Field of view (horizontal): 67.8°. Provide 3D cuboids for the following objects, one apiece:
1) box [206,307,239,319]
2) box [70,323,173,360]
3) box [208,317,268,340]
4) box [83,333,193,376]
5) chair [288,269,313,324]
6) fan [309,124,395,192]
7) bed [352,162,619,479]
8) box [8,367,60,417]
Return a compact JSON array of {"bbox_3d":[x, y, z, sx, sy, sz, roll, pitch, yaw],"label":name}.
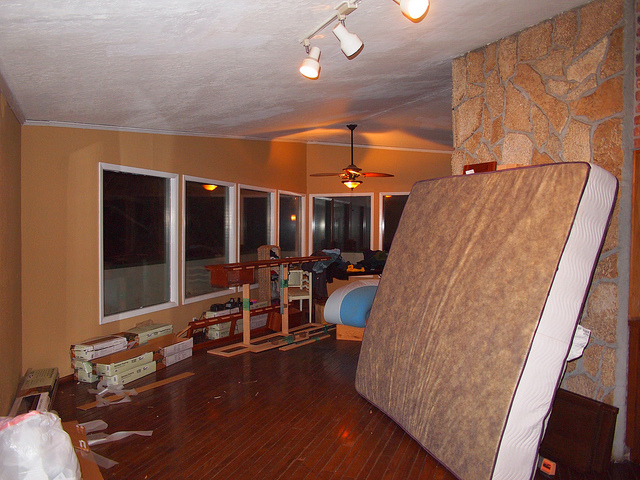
[{"bbox_3d":[-1.402,1.056,6.961,0.542,0.089,0.210,-5,8,-37],"label":"box"},{"bbox_3d":[-2.322,1.176,5.630,0.306,0.140,0.919,6,6,26],"label":"box"},{"bbox_3d":[-1.201,1.296,6.990,1.146,0.147,0.232,-10,-19,-38],"label":"box"},{"bbox_3d":[-2.014,1.313,5.576,0.331,0.103,1.028,5,6,26],"label":"box"},{"bbox_3d":[-0.330,0.891,7.936,0.404,0.915,0.587,-1,7,-4],"label":"chair"},{"bbox_3d":[0.496,-1.188,7.503,1.128,0.775,1.094,0,3,-17],"label":"fan"},{"bbox_3d":[1.251,0.513,3.467,0.502,2.023,2.087,26,-4,-26],"label":"bed"},{"bbox_3d":[-2.851,1.449,4.733,0.290,0.852,0.194,13,21,-37],"label":"box"}]
